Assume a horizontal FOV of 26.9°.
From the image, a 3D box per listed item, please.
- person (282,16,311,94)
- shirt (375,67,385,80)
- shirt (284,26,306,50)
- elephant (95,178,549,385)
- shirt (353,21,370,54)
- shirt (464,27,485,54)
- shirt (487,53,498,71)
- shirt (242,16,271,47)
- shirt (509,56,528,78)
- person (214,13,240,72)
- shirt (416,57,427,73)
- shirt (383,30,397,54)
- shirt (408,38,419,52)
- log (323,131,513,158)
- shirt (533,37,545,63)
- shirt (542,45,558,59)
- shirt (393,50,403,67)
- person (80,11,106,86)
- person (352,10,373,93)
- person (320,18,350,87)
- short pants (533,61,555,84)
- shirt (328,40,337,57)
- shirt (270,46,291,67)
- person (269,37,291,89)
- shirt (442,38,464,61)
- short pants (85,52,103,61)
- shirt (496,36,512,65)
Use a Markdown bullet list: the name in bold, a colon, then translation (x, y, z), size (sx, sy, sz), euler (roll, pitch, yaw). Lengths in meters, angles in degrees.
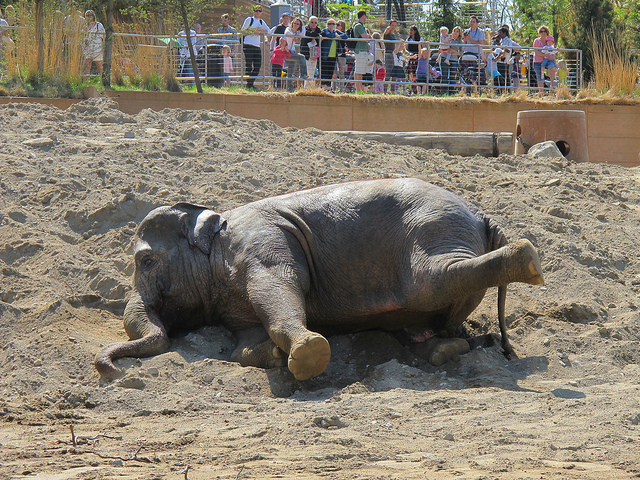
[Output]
- **person**: translation (-0.563, -3.704, 26.701), size (0.685, 1.418, 0.546), euler (-3, 3, -2)
- **shirt**: translation (1.218, -3.370, 27.300), size (0.200, 0.259, 0.145), euler (4, 13, 7)
- **shirt**: translation (-0.564, -4.034, 26.653), size (0.271, 0.519, 0.335), euler (13, -2, -43)
- **elephant**: translation (-0.224, 0.617, 17.454), size (5.998, 2.733, 2.064), euler (-7, -19, 14)
- **shirt**: translation (0.806, -4.046, 26.855), size (0.295, 0.617, 0.270), euler (0, 9, 4)
- **shirt**: translation (3.177, -4.112, 27.802), size (0.398, 0.540, 0.573), euler (1, 9, 9)
- **shirt**: translation (3.549, -3.692, 27.917), size (0.101, 0.309, 0.228), euler (0, 0, 21)
- **shirt**: translation (-1.290, -4.155, 26.858), size (0.565, 0.606, 0.560), euler (-1, 9, -3)
- **shirt**: translation (4.080, -3.574, 28.160), size (0.501, 0.491, 0.302), euler (-3, 3, -22)
- **person**: translation (-1.998, -3.809, 27.290), size (0.618, 1.488, 0.468), euler (5, 2, -9)
- **shirt**: translation (2.067, -3.563, 27.543), size (0.311, 0.358, 0.234), euler (4, 8, 23)
- **shirt**: translation (1.396, -3.974, 27.235), size (0.257, 0.486, 0.179), euler (-1, 1, 5)
- **shirt**: translation (1.882, -3.957, 27.429), size (0.275, 0.249, 0.074), euler (2, 12, -15)
- **log**: translation (1.892, -1.552, 21.825), size (2.411, 0.400, 0.387), euler (-1, 9, -6)
- **shirt**: translation (4.583, -3.987, 28.296), size (0.227, 0.521, 0.436), euler (1, 9, 9)
- **shirt**: translation (4.838, -3.956, 28.344), size (0.280, 0.236, 0.724), euler (3, 9, 18)
- **shirt**: translation (1.561, -3.667, 27.322), size (0.245, 0.243, 0.088), euler (3, -1, -11)
- **person**: translation (-4.441, -3.781, 26.219), size (0.417, 1.329, 1.489), euler (-2, 9, -8)
- **person**: translation (0.831, -3.766, 26.956), size (0.376, 1.618, 0.771), euler (0, 9, 1)
- **person**: translation (0.241, -3.714, 26.827), size (0.536, 1.333, 0.986), euler (0, 9, 4)
- **short pants**: translation (4.715, -3.532, 28.414), size (0.452, 0.464, 0.199), euler (-5, 10, -29)
- **shirt**: translation (0.239, -3.781, 26.726), size (0.071, 0.263, 0.197), euler (10, -5, 34)
- **shirt**: translation (-0.813, -3.597, 26.404), size (0.336, 0.332, 0.172), euler (8, 21, 0)
- **person**: translation (-0.812, -3.578, 26.357), size (0.390, 0.755, 0.446), euler (0, 9, 4)
- **shirt**: translation (2.755, -3.917, 27.745), size (0.433, 0.446, 0.481), euler (4, 10, 26)
- **short pants**: translation (-4.461, -3.579, 26.311), size (0.163, 0.156, 0.525), euler (4, 10, 27)
- **shirt**: translation (3.795, -3.901, 27.849), size (0.275, 0.691, 0.577), euler (12, 1, 4)
